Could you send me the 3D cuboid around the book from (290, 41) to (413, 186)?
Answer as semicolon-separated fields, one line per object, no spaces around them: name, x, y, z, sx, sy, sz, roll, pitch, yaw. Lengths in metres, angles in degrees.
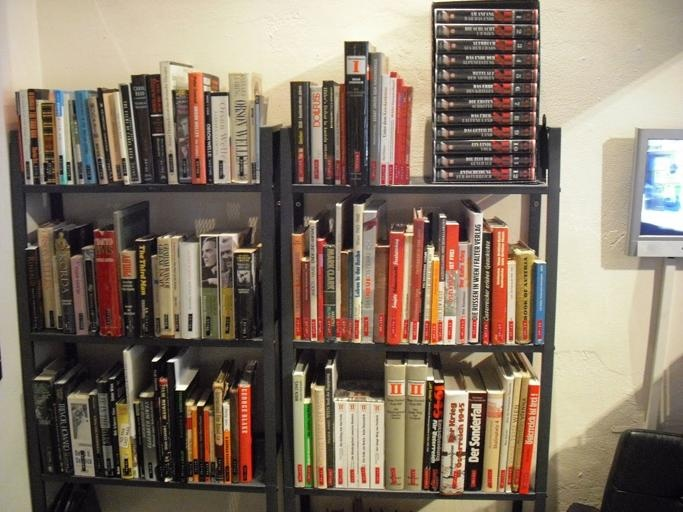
book;0.022;-0.551;2.789;0.529;0.704;0.490;1;12;3
